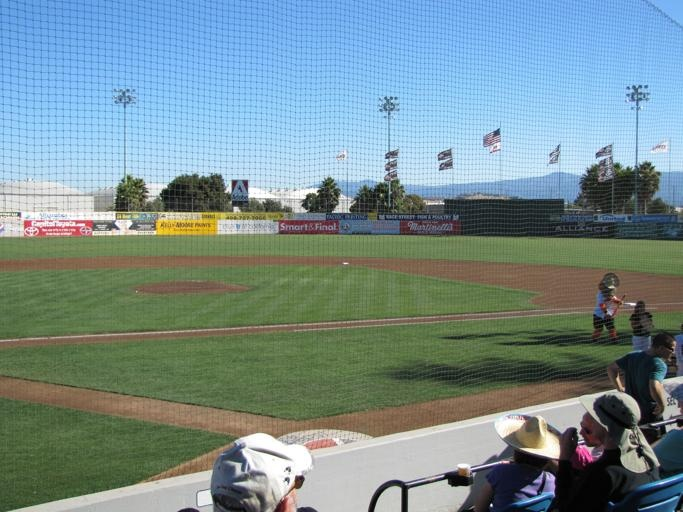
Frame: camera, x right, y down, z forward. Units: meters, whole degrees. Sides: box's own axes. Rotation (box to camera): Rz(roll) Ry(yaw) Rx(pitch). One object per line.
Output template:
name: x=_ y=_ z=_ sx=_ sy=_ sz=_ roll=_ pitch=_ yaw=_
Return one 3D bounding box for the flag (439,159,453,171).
flag: x=1.685 y=-1.451 z=13.183 sx=0.175 sy=0.078 sz=0.180 roll=-4 pitch=-13 yaw=-8

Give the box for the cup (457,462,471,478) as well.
cup: x=1.430 y=2.451 z=9.491 sx=0.148 sy=0.163 sz=0.247 roll=0 pitch=8 yaw=11

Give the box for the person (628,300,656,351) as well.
person: x=5.286 y=1.400 z=14.397 sx=0.382 sy=1.262 sz=0.339 roll=-4 pitch=19 yaw=13

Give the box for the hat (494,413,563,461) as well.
hat: x=2.192 y=1.981 z=9.412 sx=0.805 sy=0.257 sz=0.834 roll=9 pitch=20 yaw=2

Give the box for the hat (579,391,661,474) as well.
hat: x=3.186 y=1.988 z=9.471 sx=0.668 sy=0.275 sz=0.948 roll=18 pitch=32 yaw=-22

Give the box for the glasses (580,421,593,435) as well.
glasses: x=2.854 y=1.990 z=9.602 sx=0.150 sy=0.149 sz=0.080 roll=0 pitch=18 yaw=-5

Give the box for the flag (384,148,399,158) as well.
flag: x=0.793 y=-1.618 z=12.939 sx=0.158 sy=0.052 sz=0.127 roll=-6 pitch=-23 yaw=-15

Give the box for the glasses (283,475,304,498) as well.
glasses: x=-0.484 y=2.418 z=8.729 sx=0.153 sy=0.177 sz=0.205 roll=-8 pitch=44 yaw=19

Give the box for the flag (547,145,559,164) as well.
flag: x=3.578 y=-1.694 z=13.743 sx=0.310 sy=0.336 sz=0.080 roll=-8 pitch=10 yaw=-40
